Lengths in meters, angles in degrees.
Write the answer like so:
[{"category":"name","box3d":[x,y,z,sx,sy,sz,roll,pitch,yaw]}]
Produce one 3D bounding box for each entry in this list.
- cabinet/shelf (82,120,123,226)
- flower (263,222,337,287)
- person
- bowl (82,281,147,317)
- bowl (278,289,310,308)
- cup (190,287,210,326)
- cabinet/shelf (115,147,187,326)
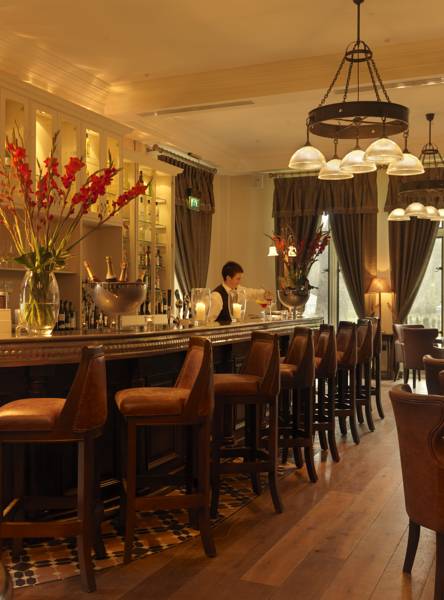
[{"category":"cabinet/shelf","box3d":[-1.391,-1.415,5.465,0.554,0.960,0.255,0,3,-36]},{"category":"flower","box3d":[0.882,-0.578,5.863,0.654,0.867,0.728,-18,21,-27]},{"category":"person","box3d":[0.113,-0.031,4.769,0.621,1.030,0.643,1,10,8]},{"category":"bowl","box3d":[-0.574,-0.014,2.566,0.208,0.130,0.221,-1,-3,0]},{"category":"bowl","box3d":[0.783,-0.019,5.414,0.243,0.172,0.241,0,2,0]},{"category":"cup","box3d":[-0.165,0.039,3.573,0.154,0.284,0.164,-1,15,0]},{"category":"cabinet/shelf","box3d":[-0.996,-0.946,7.256,0.784,1.789,0.329,-7,-14,31]}]
